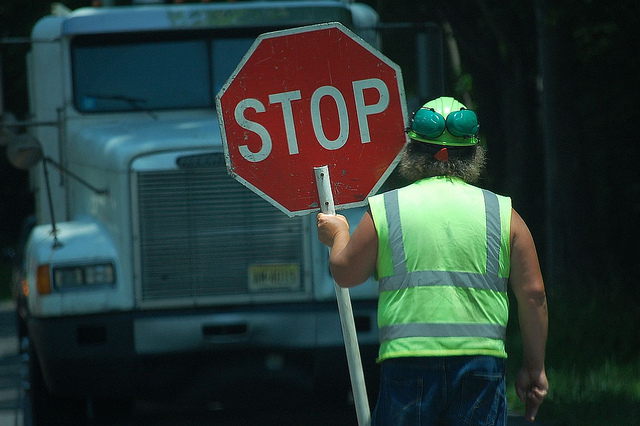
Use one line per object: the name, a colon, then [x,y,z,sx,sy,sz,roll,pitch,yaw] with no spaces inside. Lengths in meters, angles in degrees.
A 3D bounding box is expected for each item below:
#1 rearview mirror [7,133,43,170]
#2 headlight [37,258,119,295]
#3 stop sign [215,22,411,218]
rearview mirror: [-2.701,-0.584,12.324,0.344,0.331,0.154,1,-9,-40]
headlight: [-2.143,0.552,11.838,0.692,0.268,0.091,-3,-7,-11]
stop sign: [-0.060,-0.672,10.525,1.689,1.562,0.230,-6,11,-6]
